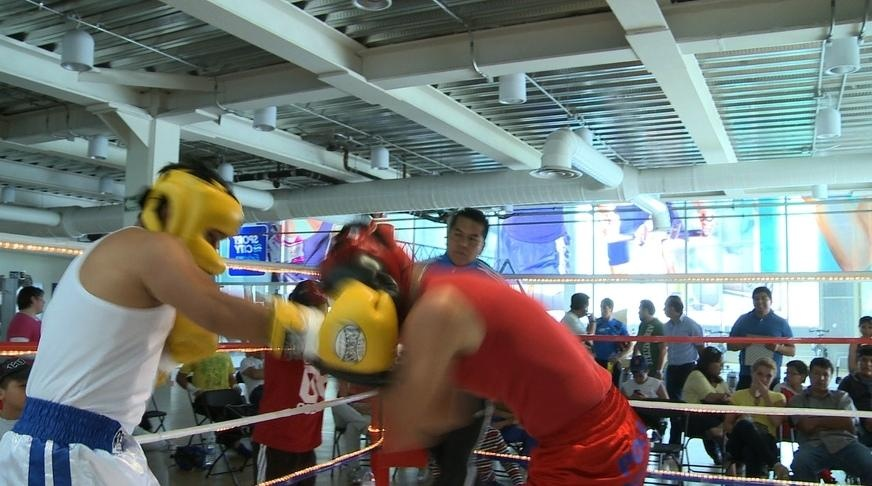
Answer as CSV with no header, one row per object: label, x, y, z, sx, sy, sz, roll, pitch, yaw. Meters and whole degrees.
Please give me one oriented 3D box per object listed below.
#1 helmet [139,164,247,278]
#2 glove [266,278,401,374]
helmet,-1.430,-0.161,3.884,0.653,0.458,0.442,22,-9,6
glove,-0.488,0.398,3.429,0.733,0.257,0.462,8,13,10
